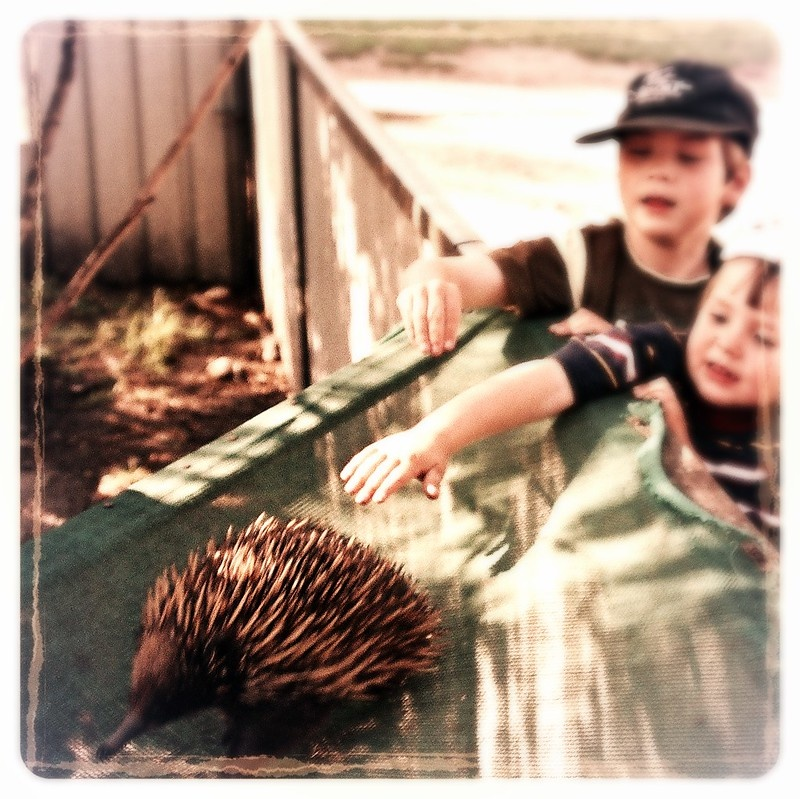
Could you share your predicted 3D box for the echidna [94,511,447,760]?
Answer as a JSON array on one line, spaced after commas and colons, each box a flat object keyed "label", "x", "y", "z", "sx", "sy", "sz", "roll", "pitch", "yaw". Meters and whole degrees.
[{"label": "echidna", "x": -0.157, "y": 0.284, "z": 1.215, "sx": 0.430, "sy": 0.256, "sz": 0.257, "roll": -19, "pitch": 14, "yaw": -26}]

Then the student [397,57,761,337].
[{"label": "student", "x": 0.183, "y": -0.335, "z": 1.349, "sx": 0.461, "sy": 0.533, "sz": 0.328, "roll": -10, "pitch": 20, "yaw": -23}]

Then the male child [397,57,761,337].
[{"label": "male child", "x": 0.184, "y": -0.338, "z": 1.351, "sx": 0.461, "sy": 0.533, "sz": 0.328, "roll": -10, "pitch": 20, "yaw": -23}]
